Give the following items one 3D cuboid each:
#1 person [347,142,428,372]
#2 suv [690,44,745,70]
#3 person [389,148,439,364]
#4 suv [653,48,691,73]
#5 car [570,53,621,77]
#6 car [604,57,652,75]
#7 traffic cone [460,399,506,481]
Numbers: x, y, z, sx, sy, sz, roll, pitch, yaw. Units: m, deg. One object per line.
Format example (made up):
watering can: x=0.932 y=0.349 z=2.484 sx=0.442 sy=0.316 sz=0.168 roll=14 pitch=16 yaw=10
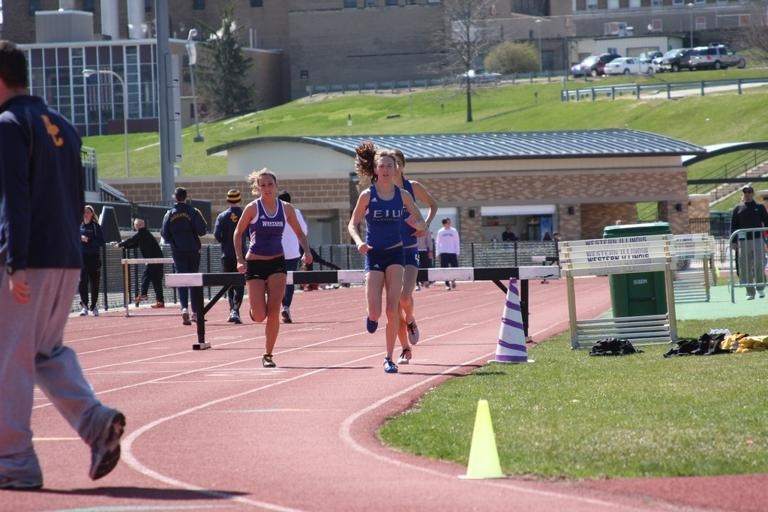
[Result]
person: x=0.037 y=-0.301 z=19.218 sx=1.154 sy=3.158 sz=1.409 roll=1 pitch=-1 yaw=8
suv: x=25.142 y=-14.971 z=100.372 sx=3.559 sy=1.521 sz=1.915 roll=-8 pitch=12 yaw=-17
person: x=0.389 y=0.078 z=19.685 sx=0.860 sy=2.822 sz=1.103 roll=0 pitch=0 yaw=14
suv: x=22.283 y=-15.069 z=102.287 sx=2.642 sy=1.188 sz=1.401 roll=-1 pitch=3 yaw=-5
car: x=17.051 y=-15.854 z=109.770 sx=3.960 sy=1.620 sz=1.969 roll=4 pitch=9 yaw=42
car: x=19.333 y=-14.996 z=105.388 sx=3.217 sy=0.981 sz=1.434 roll=-6 pitch=13 yaw=-11
traffic cone: x=1.110 y=2.018 z=14.904 sx=0.461 sy=0.883 sz=0.318 roll=-1 pitch=5 yaw=0
